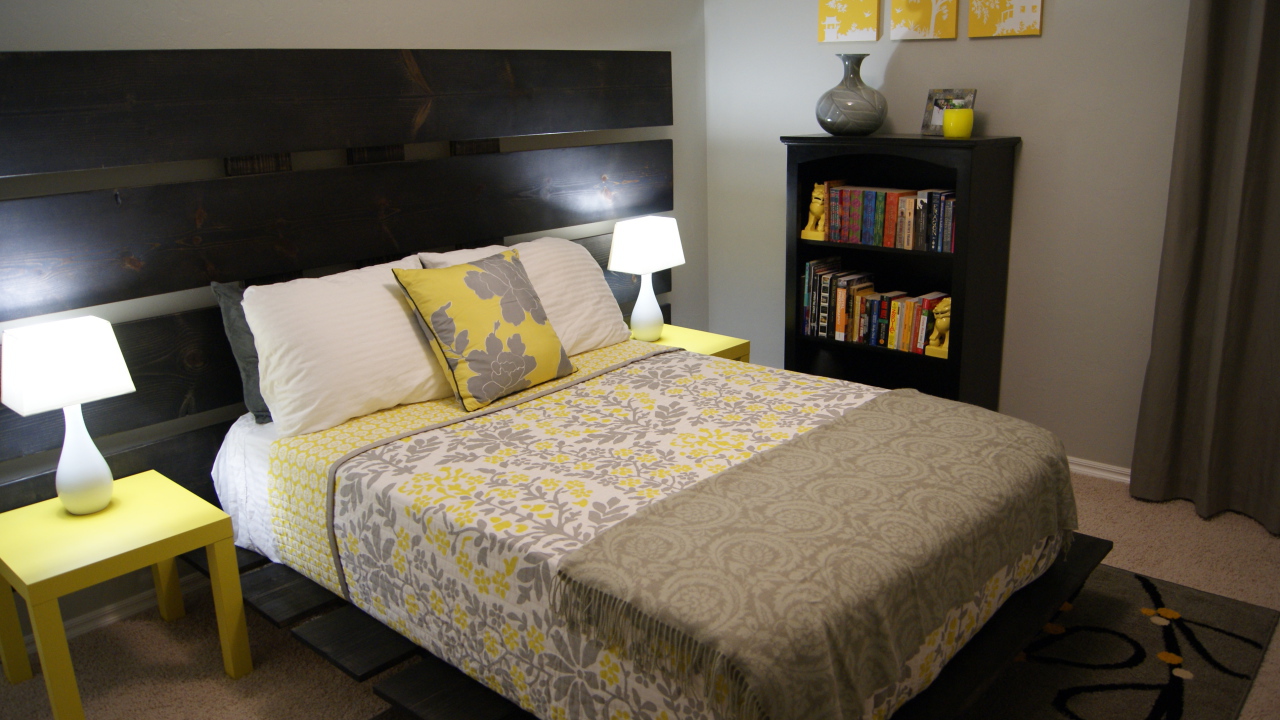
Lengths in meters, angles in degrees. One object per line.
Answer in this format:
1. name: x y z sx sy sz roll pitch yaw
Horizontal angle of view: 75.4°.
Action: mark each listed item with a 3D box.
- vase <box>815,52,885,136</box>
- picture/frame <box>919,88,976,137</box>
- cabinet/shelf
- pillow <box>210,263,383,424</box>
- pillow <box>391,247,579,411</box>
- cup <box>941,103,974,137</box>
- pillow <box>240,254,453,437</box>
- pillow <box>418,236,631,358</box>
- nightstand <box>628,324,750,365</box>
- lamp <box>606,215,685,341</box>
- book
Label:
1. vase: 1.319 -1.603 5.069 0.485 0.476 0.480 -11 17 -30
2. picture/frame: 1.814 -1.433 4.802 0.357 0.345 0.029 6 -15 37
3. cabinet/shelf: 1.592 -0.550 4.885 1.433 2.146 0.602 11 19 35
4. pillow: -1.674 -0.110 3.940 0.185 0.566 0.592 -12 3 20
5. pillow: -0.797 -0.117 4.068 0.241 0.736 0.800 -25 1 43
6. cup: 1.813 -1.355 4.686 0.178 0.148 0.175 -2 13 0
7. pillow: -1.427 -0.071 3.978 0.797 0.615 0.467 -17 27 -24
8. pillow: -0.561 -0.324 4.650 0.241 0.728 0.824 -33 -12 38
9. nightstand: 0.384 -0.102 4.943 0.366 0.210 0.364 15 26 31
10. lamp: 0.020 -0.511 5.042 0.388 0.964 0.653 6 18 24
11. book: 1.475 -0.583 5.046 1.019 0.931 0.327 11 13 39
